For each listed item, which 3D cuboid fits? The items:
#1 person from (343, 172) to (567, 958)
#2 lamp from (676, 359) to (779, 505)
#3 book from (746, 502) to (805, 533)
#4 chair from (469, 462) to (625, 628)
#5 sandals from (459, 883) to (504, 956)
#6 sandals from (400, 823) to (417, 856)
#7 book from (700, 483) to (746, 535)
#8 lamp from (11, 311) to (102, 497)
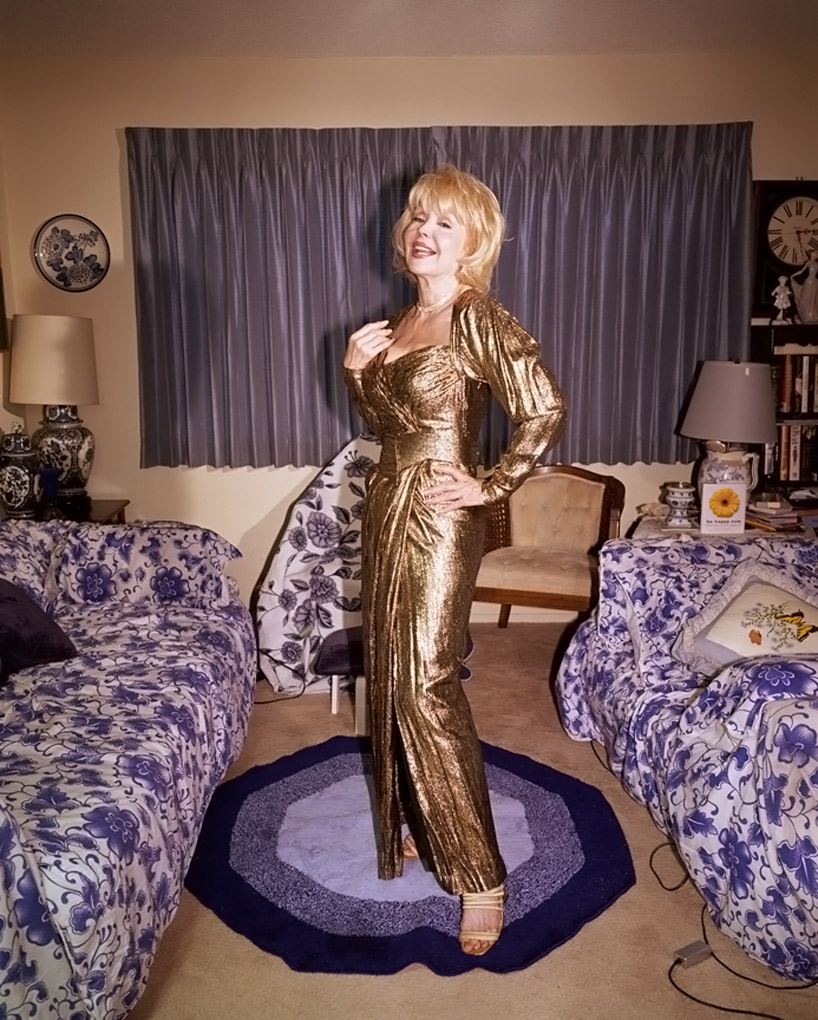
[{"bbox_3d":[0.075,0.094,1.704,0.335,1.626,0.431,-4,10,-24],"label":"person"},{"bbox_3d":[1.243,-0.353,3.142,0.329,0.487,0.426,-1,9,-4],"label":"lamp"},{"bbox_3d":[1.448,0.025,3.105,0.198,0.099,0.321,0,8,4],"label":"book"},{"bbox_3d":[0.631,0.129,3.456,0.696,0.887,0.697,3,5,11],"label":"chair"},{"bbox_3d":[0.150,0.873,1.659,0.058,0.064,0.166,-1,-4,6],"label":"sandals"},{"bbox_3d":[-0.001,0.853,2.014,0.025,0.092,0.101,-4,-4,7],"label":"sandals"},{"bbox_3d":[1.207,-0.012,2.960,0.218,0.194,0.120,-2,9,-9],"label":"book"},{"bbox_3d":[-1.380,-0.400,3.042,0.304,0.704,0.269,-4,10,-24],"label":"lamp"}]
